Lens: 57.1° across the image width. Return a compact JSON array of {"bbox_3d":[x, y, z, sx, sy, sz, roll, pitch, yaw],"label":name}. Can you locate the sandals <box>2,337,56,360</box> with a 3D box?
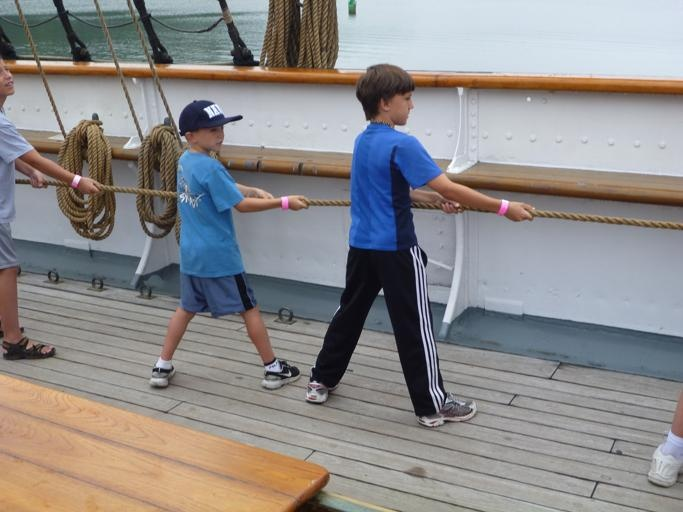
[{"bbox_3d":[-1.750,0.523,3.533,0.283,0.127,0.115,-2,7,-11],"label":"sandals"}]

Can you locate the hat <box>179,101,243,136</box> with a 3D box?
[{"bbox_3d":[-0.628,-0.671,2.946,0.323,0.134,0.205,-8,17,16],"label":"hat"}]

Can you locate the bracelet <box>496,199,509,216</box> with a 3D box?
[{"bbox_3d":[0.692,-0.201,2.692,0.041,0.066,0.071,11,36,-1],"label":"bracelet"}]

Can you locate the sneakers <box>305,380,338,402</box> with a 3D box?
[{"bbox_3d":[-0.095,0.644,3.089,0.074,0.080,0.177,5,22,29],"label":"sneakers"}]

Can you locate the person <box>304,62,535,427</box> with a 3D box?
[{"bbox_3d":[0.264,0.082,2.782,0.854,1.329,0.423,8,28,20],"label":"person"}]

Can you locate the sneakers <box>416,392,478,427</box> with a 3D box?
[{"bbox_3d":[0.500,0.695,2.923,0.309,0.150,0.117,-10,26,-12],"label":"sneakers"}]

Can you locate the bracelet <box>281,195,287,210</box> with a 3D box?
[{"bbox_3d":[-0.274,-0.254,2.945,0.039,0.058,0.053,0,-6,-16],"label":"bracelet"}]

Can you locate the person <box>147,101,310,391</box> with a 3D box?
[{"bbox_3d":[-0.597,-0.016,3.076,0.843,1.413,0.429,0,26,5],"label":"person"}]

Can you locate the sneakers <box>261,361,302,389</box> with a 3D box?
[{"bbox_3d":[-0.307,0.587,3.248,0.093,0.110,0.226,12,20,39],"label":"sneakers"}]

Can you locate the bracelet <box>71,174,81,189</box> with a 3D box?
[{"bbox_3d":[-1.495,-0.414,3.512,0.050,0.074,0.070,23,-3,-16],"label":"bracelet"}]
